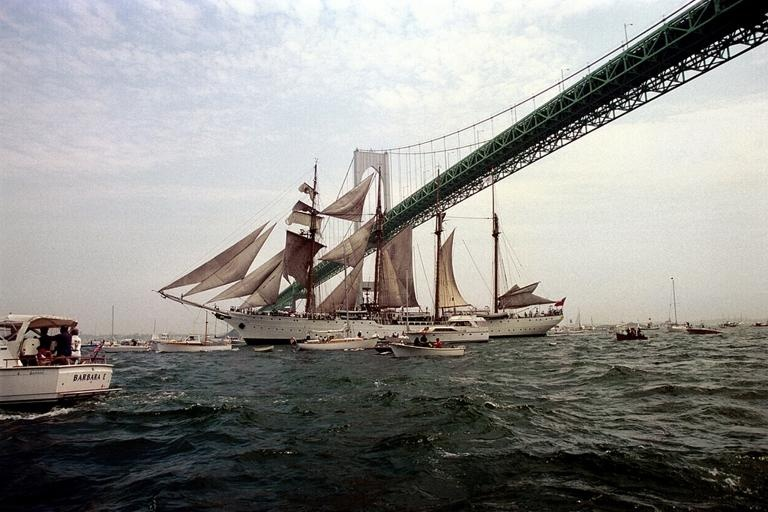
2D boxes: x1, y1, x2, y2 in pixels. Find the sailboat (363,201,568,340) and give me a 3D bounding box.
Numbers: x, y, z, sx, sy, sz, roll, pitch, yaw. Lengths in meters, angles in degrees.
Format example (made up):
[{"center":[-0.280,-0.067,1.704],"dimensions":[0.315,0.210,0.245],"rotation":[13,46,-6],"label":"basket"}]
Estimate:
[{"center":[12.266,3.556,74.463],"dimensions":[45.304,16.565,17.255],"rotation":[0,0,3],"label":"sailboat"}]
